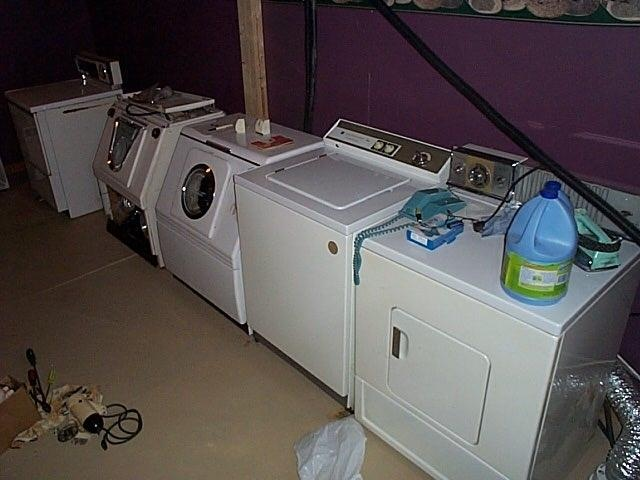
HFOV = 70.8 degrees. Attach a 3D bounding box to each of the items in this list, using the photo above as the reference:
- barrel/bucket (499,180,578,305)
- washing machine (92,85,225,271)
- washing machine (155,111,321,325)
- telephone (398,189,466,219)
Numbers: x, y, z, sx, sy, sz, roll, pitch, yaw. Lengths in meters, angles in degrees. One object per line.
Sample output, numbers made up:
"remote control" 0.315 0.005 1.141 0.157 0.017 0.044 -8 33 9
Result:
"barrel/bucket" 0.815 0.002 1.628 0.265 0.357 0.320 6 35 9
"washing machine" -1.153 -0.429 3.249 0.810 1.181 0.723 34 44 31
"washing machine" -0.487 -0.135 2.691 0.685 1.037 0.811 -25 43 -37
"telephone" 0.521 -0.169 2.091 0.210 0.085 0.158 -23 34 -25
